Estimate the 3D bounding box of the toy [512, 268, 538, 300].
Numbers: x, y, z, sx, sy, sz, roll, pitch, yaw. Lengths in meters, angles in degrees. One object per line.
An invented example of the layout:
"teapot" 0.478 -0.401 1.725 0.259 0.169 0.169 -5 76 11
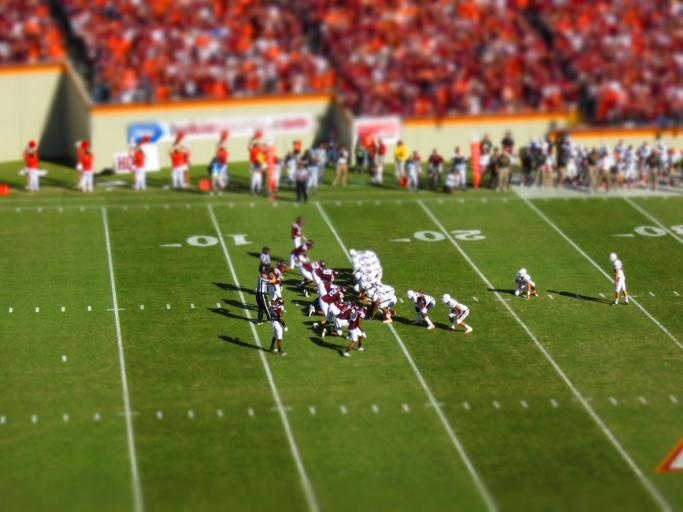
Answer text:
"toy" 3.853 0.506 19.845 0.490 0.606 0.634 8 18 14
